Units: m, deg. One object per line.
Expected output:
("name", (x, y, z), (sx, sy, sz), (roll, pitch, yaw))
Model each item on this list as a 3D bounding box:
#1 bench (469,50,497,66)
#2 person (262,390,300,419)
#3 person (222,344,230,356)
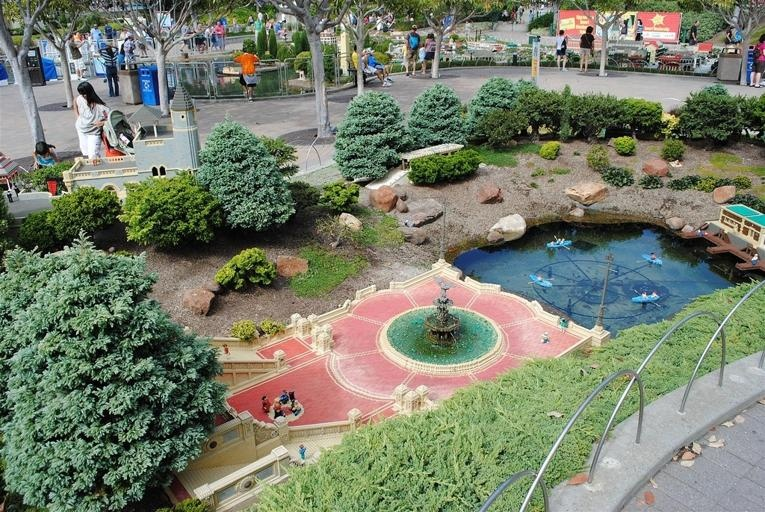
("bench", (14.471, -28.218, 73.412), (3.077, 0.707, 3.090), (-3, 40, 3))
("person", (-4.788, 7.113, 24.850), (1.831, 1.037, 1.452), (-12, 22, -22))
("person", (-8.389, 5.050, 27.755), (0.328, 0.826, 0.380), (-6, 11, -39))
